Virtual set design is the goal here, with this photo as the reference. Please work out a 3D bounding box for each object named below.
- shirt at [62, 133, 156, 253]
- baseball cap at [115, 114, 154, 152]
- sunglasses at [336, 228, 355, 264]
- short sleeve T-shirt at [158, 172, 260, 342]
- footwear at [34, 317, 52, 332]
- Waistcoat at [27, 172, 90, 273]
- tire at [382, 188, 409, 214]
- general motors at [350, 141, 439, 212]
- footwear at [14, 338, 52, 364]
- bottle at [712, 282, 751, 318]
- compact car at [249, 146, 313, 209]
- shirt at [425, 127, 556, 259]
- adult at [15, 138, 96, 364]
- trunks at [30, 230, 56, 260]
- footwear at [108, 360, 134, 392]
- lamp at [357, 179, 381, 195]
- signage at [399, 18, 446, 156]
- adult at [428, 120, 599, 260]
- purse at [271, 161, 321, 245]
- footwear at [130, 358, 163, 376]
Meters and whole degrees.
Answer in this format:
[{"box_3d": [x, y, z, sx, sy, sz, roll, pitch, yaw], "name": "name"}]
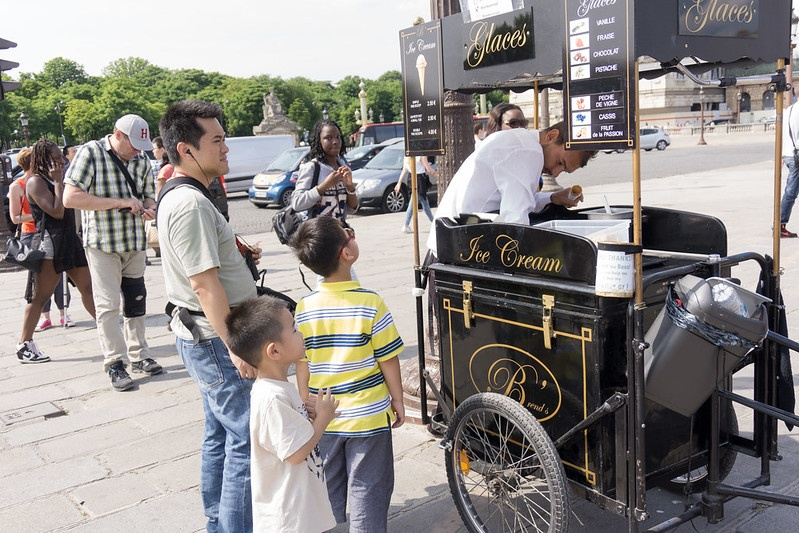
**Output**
[{"box_3d": [-2.887, -0.694, 6.552, 0.816, 1.173, 0.438, -12, 16, -30], "name": "shirt"}, {"box_3d": [-2.645, -1.302, 6.445, 0.313, 0.355, 0.427, -10, 15, -22], "name": "baseball cap"}, {"box_3d": [-0.311, -0.113, 3.892, 0.052, 0.177, 0.174, 17, 4, -8], "name": "sunglasses"}, {"box_3d": [-1.148, -0.058, 3.898, 0.542, 0.948, 0.418, -10, 15, -21], "name": "short sleeve T-shirt"}, {"box_3d": [-4.619, 0.761, 8.480, 0.166, 0.181, 0.453, -1, -2, -3], "name": "footwear"}, {"box_3d": [-3.647, -0.514, 7.430, 0.455, 1.101, 0.375, 2, -7, 20], "name": "Waistcoat"}, {"box_3d": [-0.161, -1.699, 16.750, 0.679, 0.693, 0.226, -28, 33, -16], "name": "tire"}, {"box_3d": [-0.300, -2.234, 17.170, 2.383, 1.301, 1.383, -7, 10, -37], "name": "general motors"}, {"box_3d": [-4.059, 0.946, 7.187, 0.356, 0.243, 0.242, -9, 15, -17], "name": "footwear"}, {"box_3d": [1.755, 0.193, 3.483, 0.143, 0.216, 0.056, -54, 13, -23], "name": "bottle"}, {"box_3d": [-3.124, -2.733, 19.783, 1.505, 1.607, 2.893, 10, 18, 38], "name": "compact car"}, {"box_3d": [0.743, -0.558, 4.805, 0.664, 0.942, 0.850, 5, 14, 5], "name": "shirt"}, {"box_3d": [-3.789, -0.200, 7.432, 1.268, 2.441, 0.734, -7, 8, -32], "name": "adult"}, {"box_3d": [-3.930, -0.211, 7.146, 0.277, 0.322, 0.124, 3, 16, 28], "name": "trunks"}, {"box_3d": [-2.753, 1.076, 6.429, 0.183, 0.246, 0.347, -15, 18, -37], "name": "footwear"}, {"box_3d": [-0.816, -1.950, 16.603, 0.541, 0.219, 0.418, -8, 7, 31], "name": "lamp"}, {"box_3d": [0.167, -1.373, 5.109, 0.017, 0.990, 0.550, 11, 23, 38], "name": "signage"}, {"box_3d": [0.745, -0.868, 5.065, 1.076, 0.969, 1.502, 0, -30, 0], "name": "adult"}, {"box_3d": [-0.871, -0.688, 5.995, 0.485, 0.403, 0.848, 18, 5, -19], "name": "purse"}, {"box_3d": [-2.608, 1.042, 6.774, 0.344, 0.171, 0.140, 3, 5, 17], "name": "footwear"}]
